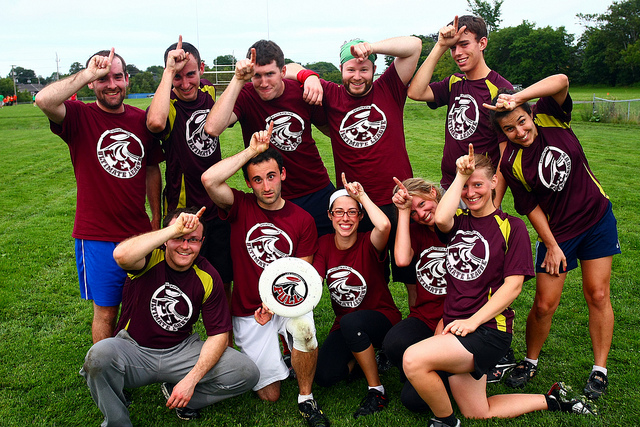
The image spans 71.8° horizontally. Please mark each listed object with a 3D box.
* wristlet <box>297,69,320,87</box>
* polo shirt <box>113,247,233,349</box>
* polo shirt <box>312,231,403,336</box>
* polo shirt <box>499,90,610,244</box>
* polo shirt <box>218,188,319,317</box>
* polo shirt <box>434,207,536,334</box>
[{"bbox_3d":[-0.183,-1.884,6.125,0.239,0.183,0.302,-4,17,-15],"label":"wristlet"},{"bbox_3d":[-1.723,1.049,5.446,1.382,1.249,0.770,6,1,1],"label":"polo shirt"},{"bbox_3d":[0.487,0.942,6.052,1.113,1.428,0.823,0,31,32],"label":"polo shirt"},{"bbox_3d":[2.941,-0.543,5.502,1.278,1.825,0.319,4,16,13],"label":"polo shirt"},{"bbox_3d":[-0.752,0.395,5.666,1.328,1.625,0.459,-3,2,5],"label":"polo shirt"},{"bbox_3d":[1.860,0.643,5.087,1.202,1.751,0.678,-13,-22,43],"label":"polo shirt"}]
